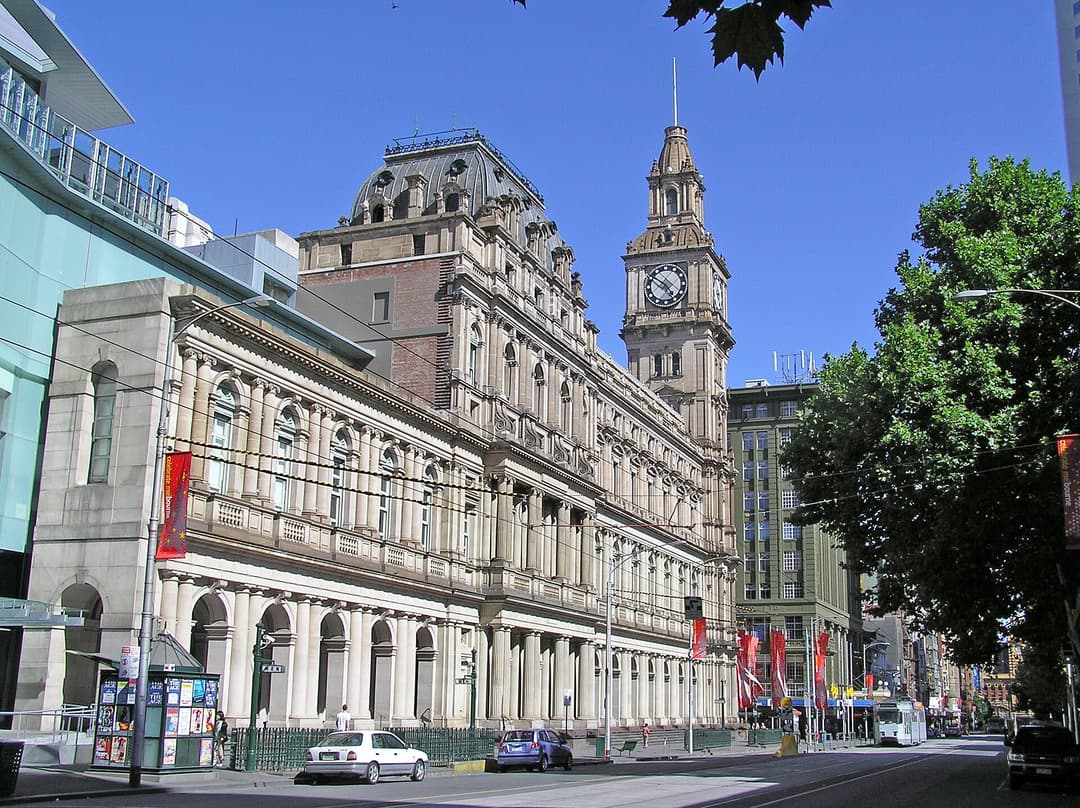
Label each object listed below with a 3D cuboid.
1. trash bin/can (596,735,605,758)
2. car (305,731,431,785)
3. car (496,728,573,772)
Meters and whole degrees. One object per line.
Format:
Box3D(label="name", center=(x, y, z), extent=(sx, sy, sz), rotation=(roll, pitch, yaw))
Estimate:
Box3D(label="trash bin/can", center=(3.131, 17.402, 61.592), extent=(0.474, 1.103, 1.088), rotation=(-2, -23, -1))
Box3D(label="car", center=(-5.940, 12.404, 42.585), extent=(4.206, 1.827, 1.230), rotation=(18, -30, -40))
Box3D(label="car", center=(-0.168, 15.092, 52.399), extent=(3.759, 1.912, 3.712), rotation=(4, -24, -14))
